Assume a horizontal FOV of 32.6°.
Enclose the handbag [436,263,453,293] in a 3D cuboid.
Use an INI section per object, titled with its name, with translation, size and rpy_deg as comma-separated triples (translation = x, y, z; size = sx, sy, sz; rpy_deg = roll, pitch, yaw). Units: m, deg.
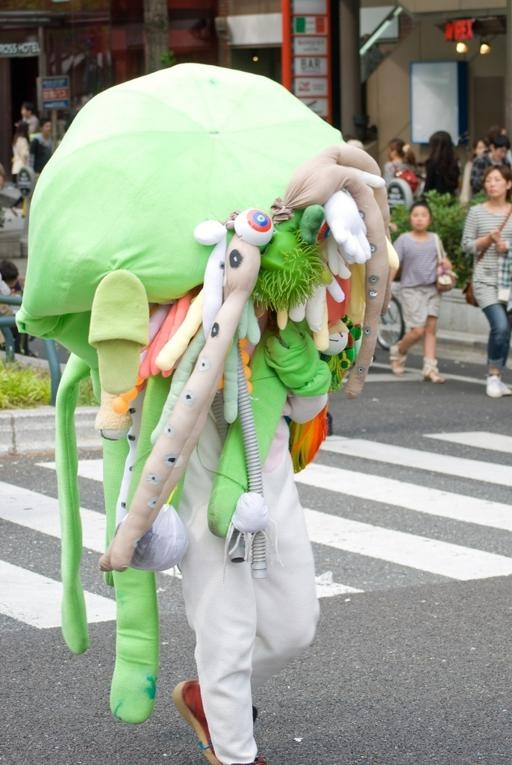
[handbag]
translation = 2.191, -1.210, 10.190
size = 0.217, 0.272, 0.116
rpy_deg = -2, -23, -6
